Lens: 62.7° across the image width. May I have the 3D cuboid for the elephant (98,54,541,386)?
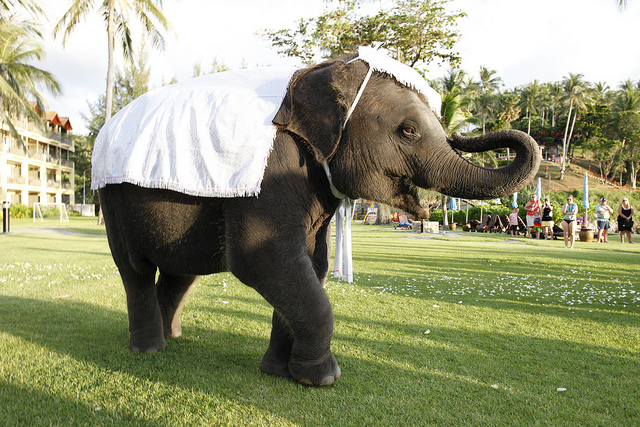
[{"bbox_3d":[-0.199,-0.011,5.332,4.291,3.282,1.646,1,17,3],"label":"elephant"}]

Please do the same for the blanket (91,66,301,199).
[{"bbox_3d":[-1.296,-0.820,5.545,2.456,1.371,1.647,-3,-1,30],"label":"blanket"}]

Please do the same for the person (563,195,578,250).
[{"bbox_3d":[7.681,0.233,16.240,0.364,1.545,2.300,4,8,25],"label":"person"}]
